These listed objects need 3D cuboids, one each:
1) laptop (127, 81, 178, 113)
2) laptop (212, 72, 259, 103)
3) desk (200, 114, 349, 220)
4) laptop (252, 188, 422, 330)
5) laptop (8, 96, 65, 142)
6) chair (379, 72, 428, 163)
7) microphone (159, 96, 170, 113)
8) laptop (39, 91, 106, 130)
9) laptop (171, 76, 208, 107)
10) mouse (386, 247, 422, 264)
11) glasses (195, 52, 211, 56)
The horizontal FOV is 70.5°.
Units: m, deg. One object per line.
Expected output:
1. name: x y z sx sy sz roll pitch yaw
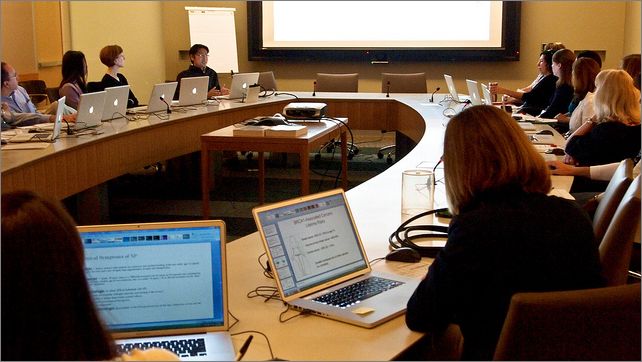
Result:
1. laptop: -1.784 -0.923 4.883 0.365 0.246 0.338 10 17 27
2. laptop: -1.024 -1.205 5.797 0.351 0.275 0.418 11 17 34
3. desk: -0.851 -0.082 4.715 0.950 0.737 1.567 1 3 -20
4. laptop: 0.024 0.302 1.837 0.538 0.376 0.573 -15 13 -43
5. laptop: -2.555 -0.551 4.064 0.458 0.384 0.598 7 11 2
6. chair: 1.090 -0.883 6.014 0.811 0.912 1.514 0 12 -1
7. microphone: -1.689 -0.835 4.900 0.082 0.058 0.180 -5 -12 -11
8. laptop: -2.129 -0.644 3.966 0.328 0.302 0.455 8 16 13
9. laptop: -1.500 -1.063 5.305 0.356 0.316 0.481 12 15 25
10. mouse: 0.365 0.323 1.993 0.123 0.041 0.065 3 4 8
11. glasses: -1.632 -1.745 6.264 0.074 0.063 0.176 12 23 36
